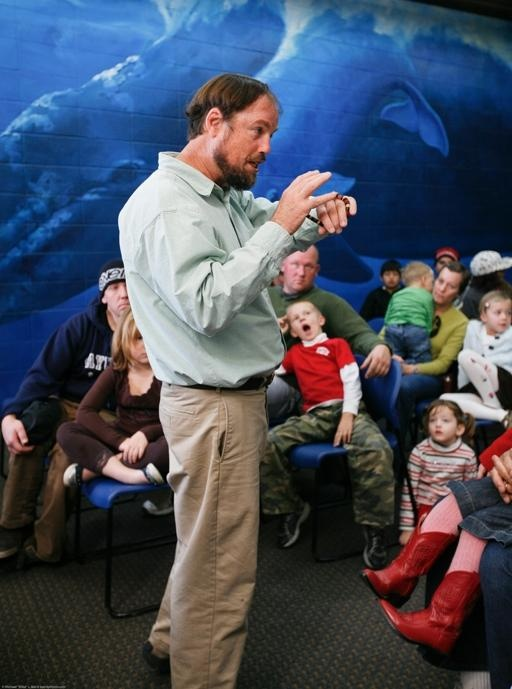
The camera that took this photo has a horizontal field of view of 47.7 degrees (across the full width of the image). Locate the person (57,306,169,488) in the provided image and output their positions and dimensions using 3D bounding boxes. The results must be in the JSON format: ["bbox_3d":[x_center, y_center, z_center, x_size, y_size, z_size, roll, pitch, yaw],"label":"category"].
[{"bbox_3d":[-0.438,0.247,2.299,0.562,0.711,0.609,1,-8,1],"label":"person"}]

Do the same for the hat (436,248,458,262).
[{"bbox_3d":[1.558,-0.732,4.736,0.142,0.099,0.200,5,-7,20],"label":"hat"}]

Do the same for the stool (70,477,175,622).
[{"bbox_3d":[-0.415,0.673,2.140,0.448,0.294,0.649,-2,4,-27],"label":"stool"}]

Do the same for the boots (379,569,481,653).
[{"bbox_3d":[0.436,0.654,1.440,0.206,0.185,0.100,0,-27,48],"label":"boots"}]

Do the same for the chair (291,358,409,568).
[{"bbox_3d":[0.370,0.458,2.529,0.569,0.715,0.544,-8,8,-35],"label":"chair"}]

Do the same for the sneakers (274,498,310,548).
[{"bbox_3d":[0.168,0.750,2.462,0.084,0.099,0.223,-26,18,48],"label":"sneakers"}]

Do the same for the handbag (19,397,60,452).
[{"bbox_3d":[-0.842,0.309,2.250,0.111,0.138,0.199,5,17,8],"label":"handbag"}]

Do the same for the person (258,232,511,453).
[{"bbox_3d":[0.610,-0.053,3.093,1.385,0.633,0.807,0,1,-32],"label":"person"}]

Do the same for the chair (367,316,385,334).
[{"bbox_3d":[0.896,-0.148,4.330,0.142,0.138,0.151,-5,22,8],"label":"chair"}]
